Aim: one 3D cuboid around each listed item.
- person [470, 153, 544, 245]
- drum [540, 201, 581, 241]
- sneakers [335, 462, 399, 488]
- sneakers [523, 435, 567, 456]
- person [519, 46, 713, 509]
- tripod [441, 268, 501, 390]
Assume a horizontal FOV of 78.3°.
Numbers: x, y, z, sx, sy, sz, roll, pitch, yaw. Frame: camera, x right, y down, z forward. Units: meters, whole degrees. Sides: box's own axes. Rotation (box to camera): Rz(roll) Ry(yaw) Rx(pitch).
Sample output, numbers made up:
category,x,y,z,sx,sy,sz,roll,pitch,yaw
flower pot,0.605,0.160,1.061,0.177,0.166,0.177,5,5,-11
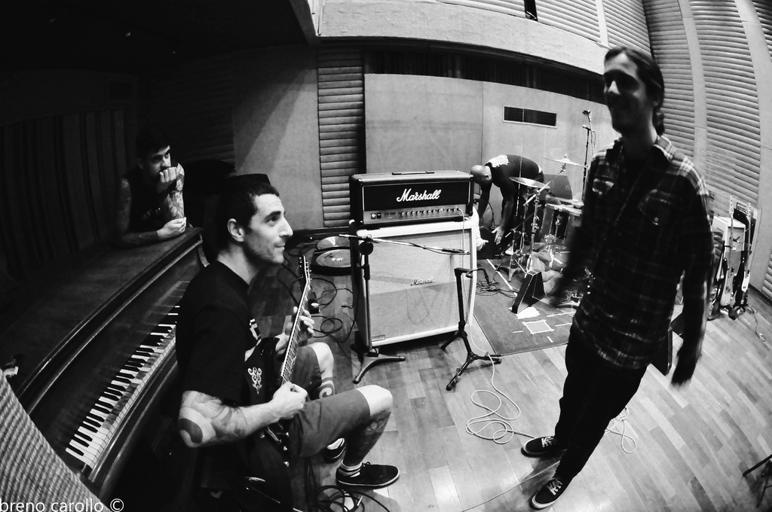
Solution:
category,x,y,z,sx,sy,sz,roll,pitch,yaw
person,1.470,-0.804,6.157,1.109,1.325,0.945,-4,14,-4
drum,1.656,-0.359,4.519,0.346,0.359,0.335,-9,25,-38
sneakers,-0.127,1.397,3.108,0.404,0.169,0.169,0,9,-8
sneakers,1.068,1.320,3.315,0.331,0.120,0.125,-1,-17,2
person,1.308,0.275,2.673,0.786,2.670,0.371,3,16,20
tripod,0.738,0.678,4.223,0.473,0.794,0.545,-10,31,6
